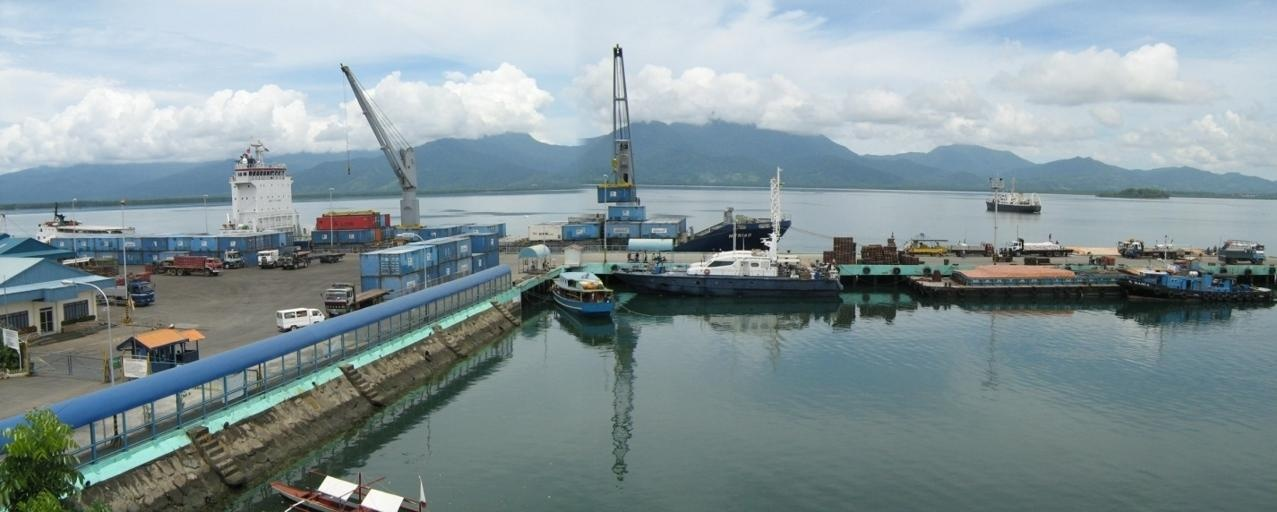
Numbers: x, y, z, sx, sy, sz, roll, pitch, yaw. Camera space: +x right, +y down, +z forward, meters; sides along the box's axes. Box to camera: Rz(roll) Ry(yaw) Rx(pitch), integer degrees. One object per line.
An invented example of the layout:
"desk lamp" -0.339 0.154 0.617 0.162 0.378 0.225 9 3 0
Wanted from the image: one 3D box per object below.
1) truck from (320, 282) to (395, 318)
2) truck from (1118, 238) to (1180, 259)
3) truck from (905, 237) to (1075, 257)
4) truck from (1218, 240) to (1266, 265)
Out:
"truck" -42.124 5.950 121.725 4.867 3.120 10.655 3 6 20
"truck" 98.047 -1.348 154.797 13.527 3.213 5.007 1 5 7
"truck" 68.887 -1.717 157.579 30.501 3.286 4.253 1 11 7
"truck" 106.842 -0.377 142.099 8.025 2.900 5.176 -1 13 5
